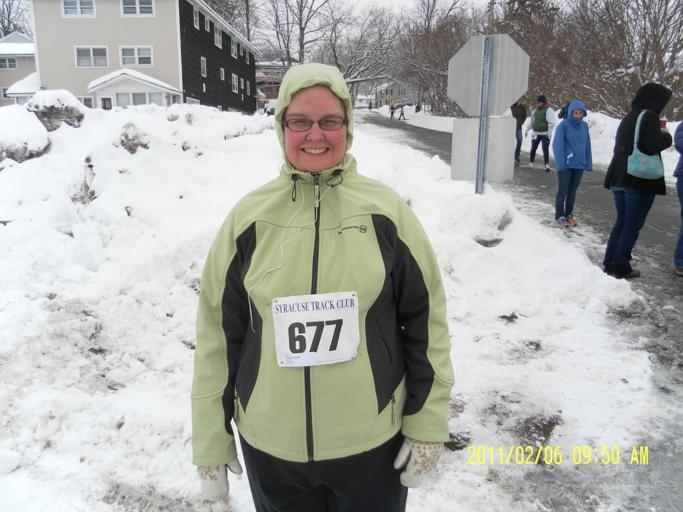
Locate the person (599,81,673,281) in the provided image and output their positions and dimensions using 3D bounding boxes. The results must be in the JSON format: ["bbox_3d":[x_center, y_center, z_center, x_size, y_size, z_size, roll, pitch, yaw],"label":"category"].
[{"bbox_3d":[3.684,-0.941,6.531,0.671,2.400,0.624,8,17,27],"label":"person"}]

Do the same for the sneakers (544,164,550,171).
[{"bbox_3d":[5.393,-2.341,13.609,0.086,0.111,0.249,-1,12,15],"label":"sneakers"}]

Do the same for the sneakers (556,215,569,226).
[{"bbox_3d":[3.612,-0.570,8.475,0.082,0.135,0.291,-2,14,-5],"label":"sneakers"}]

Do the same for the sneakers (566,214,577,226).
[{"bbox_3d":[3.791,-0.601,8.550,0.128,0.141,0.288,-27,3,26],"label":"sneakers"}]

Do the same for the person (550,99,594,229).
[{"bbox_3d":[3.604,-1.437,8.169,0.563,1.974,0.729,7,16,24],"label":"person"}]

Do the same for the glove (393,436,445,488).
[{"bbox_3d":[0.430,1.096,2.901,0.210,0.300,0.086,12,1,11],"label":"glove"}]

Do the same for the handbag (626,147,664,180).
[{"bbox_3d":[3.666,-1.117,6.274,0.309,0.335,0.151,12,22,19],"label":"handbag"}]
